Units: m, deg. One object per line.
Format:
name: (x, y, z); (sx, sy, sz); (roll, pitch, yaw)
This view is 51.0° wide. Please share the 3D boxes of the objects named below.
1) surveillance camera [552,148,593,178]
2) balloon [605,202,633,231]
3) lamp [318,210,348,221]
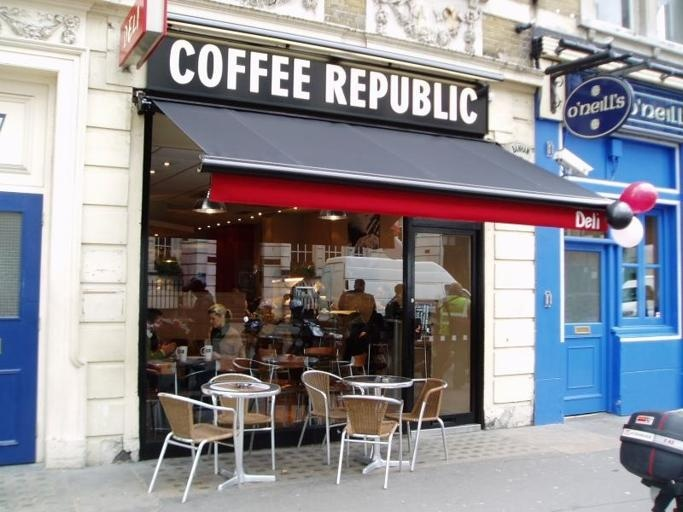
surveillance camera: (3.473, -1.419, 10.856); (0.625, 0.234, 0.360); (32, 5, -14)
balloon: (3.637, -0.550, 9.392); (0.395, 0.368, 0.189); (1, -5, -16)
lamp: (-0.163, -0.632, 11.169); (0.361, 0.220, 0.613); (1, -5, -13)
